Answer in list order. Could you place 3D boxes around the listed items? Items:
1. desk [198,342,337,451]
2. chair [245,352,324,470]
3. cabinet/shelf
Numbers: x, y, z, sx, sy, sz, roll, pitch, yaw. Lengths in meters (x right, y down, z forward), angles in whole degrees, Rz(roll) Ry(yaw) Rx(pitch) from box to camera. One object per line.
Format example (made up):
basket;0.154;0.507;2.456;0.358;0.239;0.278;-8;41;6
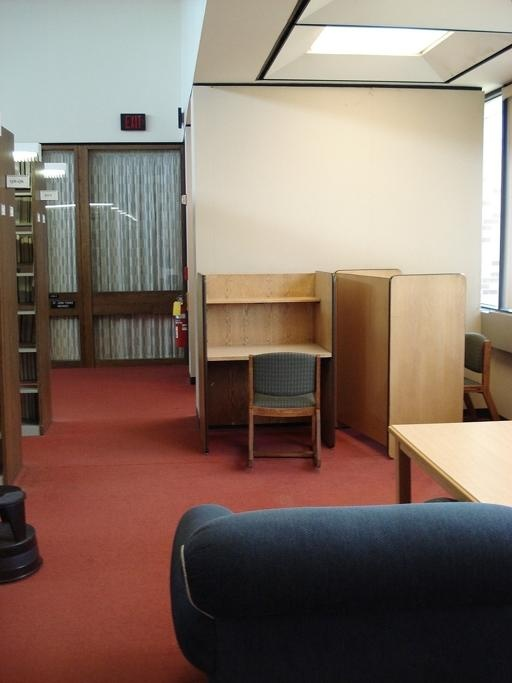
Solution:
desk;-0.066;0.436;4.620;0.738;0.745;0.742;-1;-1;0
chair;0.167;0.420;3.549;0.358;0.757;0.498;0;-7;8
cabinet/shelf;-1.966;-0.293;4.806;0.344;2.161;0.618;-2;-4;-12
